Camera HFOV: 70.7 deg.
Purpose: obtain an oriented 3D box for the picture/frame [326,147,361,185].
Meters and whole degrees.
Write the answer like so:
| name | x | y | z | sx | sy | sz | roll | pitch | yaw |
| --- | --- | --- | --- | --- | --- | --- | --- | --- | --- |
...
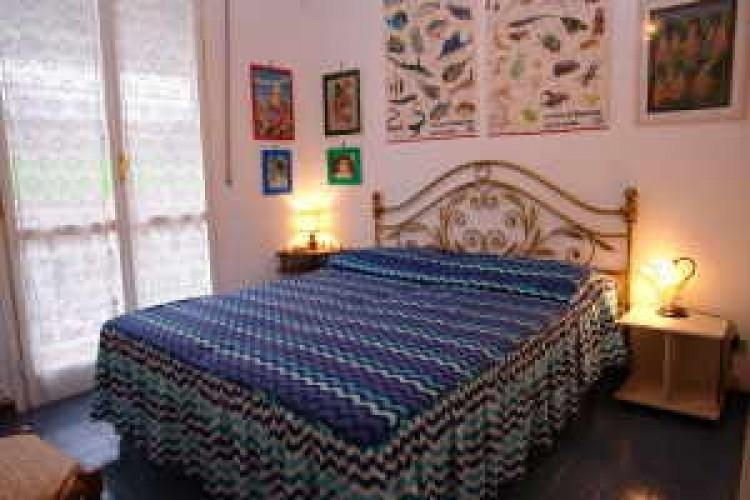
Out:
| name | x | y | z | sx | sy | sz | roll | pitch | yaw |
| --- | --- | --- | --- | --- | --- | --- | --- | --- | --- |
| picture/frame | -0.309 | -0.883 | 5.373 | 0.386 | 0.387 | 0.040 | 4 | 6 | 26 |

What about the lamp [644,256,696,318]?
| name | x | y | z | sx | sy | sz | roll | pitch | yaw |
| --- | --- | --- | --- | --- | --- | --- | --- | --- | --- |
| lamp | 2.236 | 0.264 | 3.994 | 0.257 | 0.426 | 0.381 | -3 | 6 | -16 |

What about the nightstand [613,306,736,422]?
| name | x | y | z | sx | sy | sz | roll | pitch | yaw |
| --- | --- | --- | --- | --- | --- | --- | --- | --- | --- |
| nightstand | 2.287 | 0.866 | 4.041 | 0.814 | 0.709 | 0.779 | 5 | 13 | 36 |
